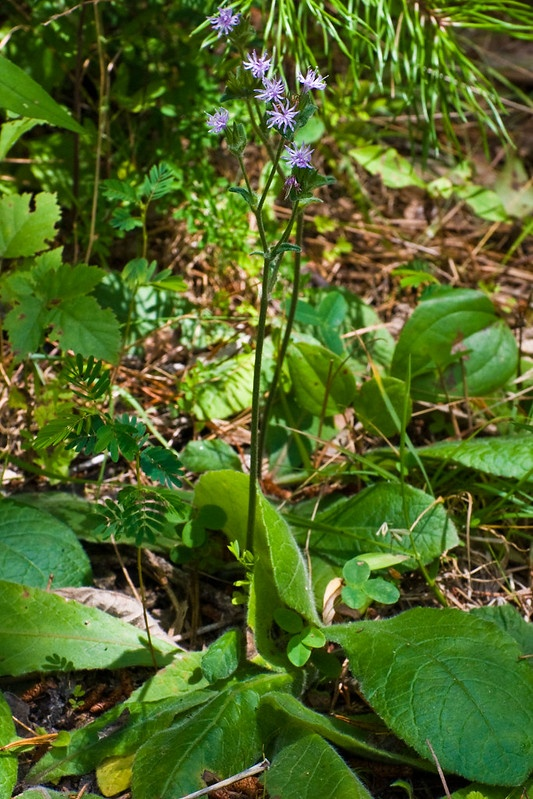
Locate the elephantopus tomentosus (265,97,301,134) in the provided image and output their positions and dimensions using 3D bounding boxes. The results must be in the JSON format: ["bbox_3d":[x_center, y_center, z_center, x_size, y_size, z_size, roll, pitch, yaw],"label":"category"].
[{"bbox_3d":[0.021,-0.411,1.024,0.042,0.056,0.072,4,11,-13],"label":"elephantopus tomentosus"}]
